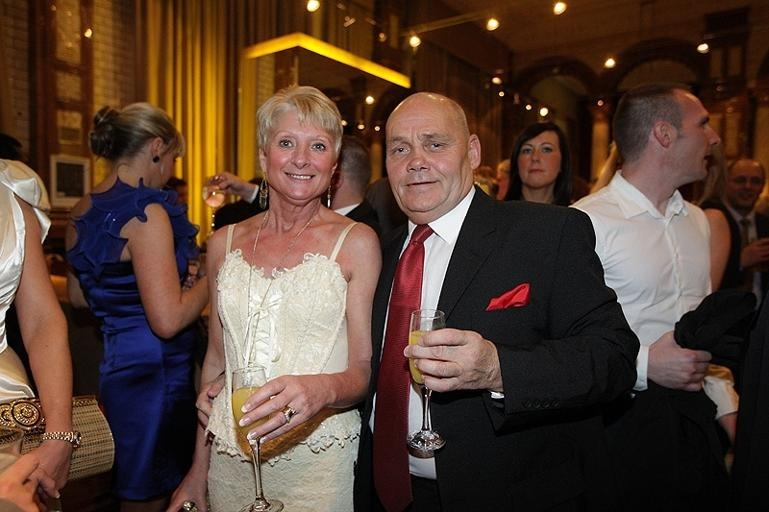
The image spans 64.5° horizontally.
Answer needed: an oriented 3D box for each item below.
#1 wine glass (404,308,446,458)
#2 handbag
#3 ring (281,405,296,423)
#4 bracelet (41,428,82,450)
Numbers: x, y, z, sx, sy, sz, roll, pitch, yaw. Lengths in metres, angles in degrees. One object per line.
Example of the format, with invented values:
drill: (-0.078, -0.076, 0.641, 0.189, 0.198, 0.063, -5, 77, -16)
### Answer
wine glass: (0.180, 0.568, 2.601, 0.168, 0.702, 0.318, 2, 9, 6)
handbag: (-1.380, 0.766, 2.551, 0.366, 0.266, 0.266, 5, 41, -54)
ring: (-0.395, 0.651, 2.514, 0.049, 0.063, 0.027, 5, 1, -38)
bracelet: (-1.334, 0.761, 2.531, 0.090, 0.052, 0.090, 2, -4, -5)
